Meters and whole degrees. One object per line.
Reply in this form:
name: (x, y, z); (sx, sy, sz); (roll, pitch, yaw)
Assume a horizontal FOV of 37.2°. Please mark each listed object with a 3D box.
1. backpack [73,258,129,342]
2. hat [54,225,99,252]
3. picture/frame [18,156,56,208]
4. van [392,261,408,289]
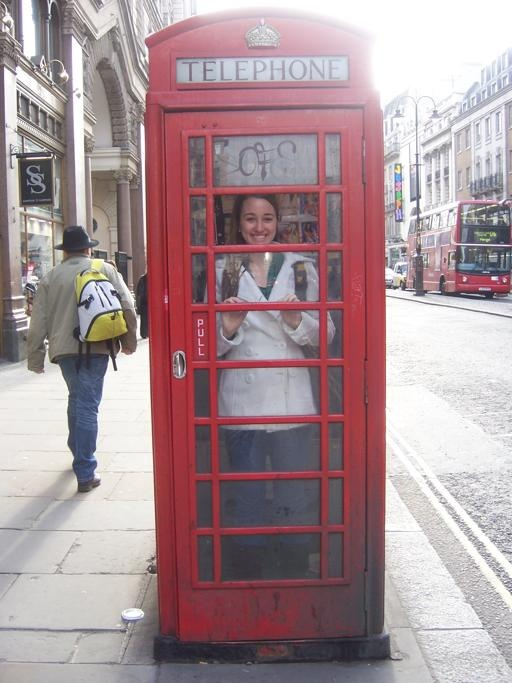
backpack: (-0.967, -0.243, 4.718); (0.324, 0.506, 0.305); (-3, 6, -28)
hat: (-1.155, -0.658, 4.974); (0.174, 0.088, 0.217); (1, 23, 8)
picture/frame: (-3.558, -2.577, 12.236); (0.647, 1.089, 0.125); (2, 21, 2)
van: (9.438, -4.323, 49.915); (1.211, 1.348, 2.070); (-1, -1, -9)
